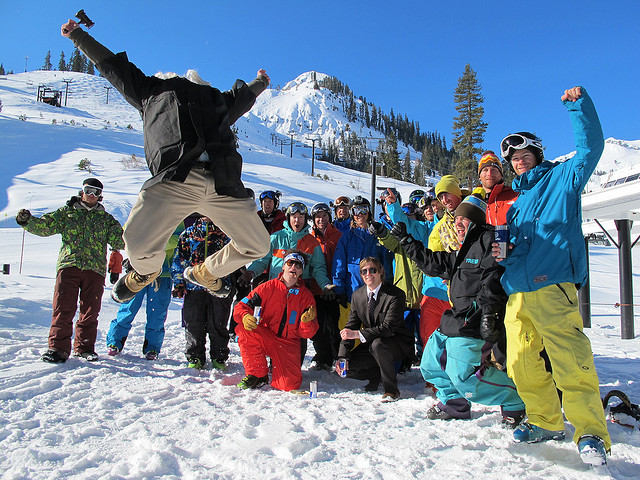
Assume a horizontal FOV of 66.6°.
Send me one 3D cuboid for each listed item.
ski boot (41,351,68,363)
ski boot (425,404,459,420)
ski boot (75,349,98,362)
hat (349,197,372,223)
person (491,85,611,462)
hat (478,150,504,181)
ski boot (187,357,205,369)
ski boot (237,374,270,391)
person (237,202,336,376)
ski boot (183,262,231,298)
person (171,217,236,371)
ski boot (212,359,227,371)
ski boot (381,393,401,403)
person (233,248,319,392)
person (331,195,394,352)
[{"bbox_3d":[-3.400,1.510,6.314,0.144,0.114,0.330,-32,-34,25],"label":"ski boot"},{"bbox_3d":[1.390,1.972,5.575,0.384,0.180,0.136,11,-11,5],"label":"ski boot"},{"bbox_3d":[-3.130,1.562,6.571,0.281,0.143,0.104,-3,-9,22],"label":"ski boot"},{"bbox_3d":[0.644,-0.516,7.648,0.285,0.417,0.342,-2,-17,0],"label":"hat"},{"bbox_3d":[2.294,0.358,5.048,0.921,3.481,1.413,7,-11,-14],"label":"person"},{"bbox_3d":[2.235,-0.993,6.396,0.314,0.429,0.459,0,-10,30],"label":"hat"},{"bbox_3d":[-1.719,1.719,6.789,0.177,0.181,0.138,-8,21,-25],"label":"ski boot"},{"bbox_3d":[-0.850,1.844,6.292,0.411,0.211,0.139,9,-20,-32],"label":"ski boot"},{"bbox_3d":[-0.526,0.782,7.702,1.429,2.786,0.865,4,6,-3],"label":"person"},{"bbox_3d":[-1.276,0.387,5.430,0.563,0.268,0.211,11,15,32],"label":"ski boot"},{"bbox_3d":[-1.591,0.614,6.966,1.028,2.794,0.779,-1,13,-16],"label":"person"},{"bbox_3d":[-1.394,1.756,6.870,0.240,0.115,0.132,8,11,29],"label":"ski boot"},{"bbox_3d":[0.879,1.955,6.011,0.242,0.104,0.083,18,-39,-26],"label":"ski boot"},{"bbox_3d":[-0.549,1.079,6.635,1.009,1.991,0.968,13,-13,-14],"label":"person"},{"bbox_3d":[0.718,0.649,7.643,0.901,2.967,0.701,2,10,13],"label":"person"}]
